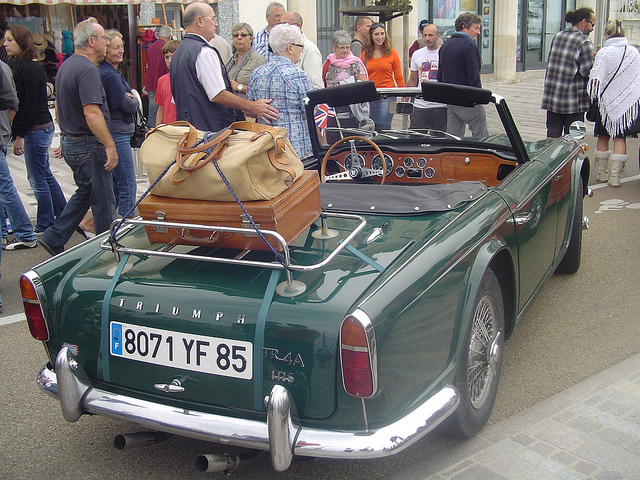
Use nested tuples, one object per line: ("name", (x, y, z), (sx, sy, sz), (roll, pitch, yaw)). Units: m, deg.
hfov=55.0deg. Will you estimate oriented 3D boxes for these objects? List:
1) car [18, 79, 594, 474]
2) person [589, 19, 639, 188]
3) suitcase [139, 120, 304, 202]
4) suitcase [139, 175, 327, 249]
("car", (0.152, 0.071, 4.000), (2.092, 2.037, 3.478), (12, 21, 40))
("person", (4.305, -2.016, 8.980), (0.713, 2.329, 0.827), (10, 18, 37))
("suitcase", (-0.558, -0.433, 3.313), (0.871, 0.374, 0.402), (3, 16, 15))
("suitcase", (-0.490, -0.131, 3.475), (0.901, 0.410, 0.638), (5, 17, 22))
